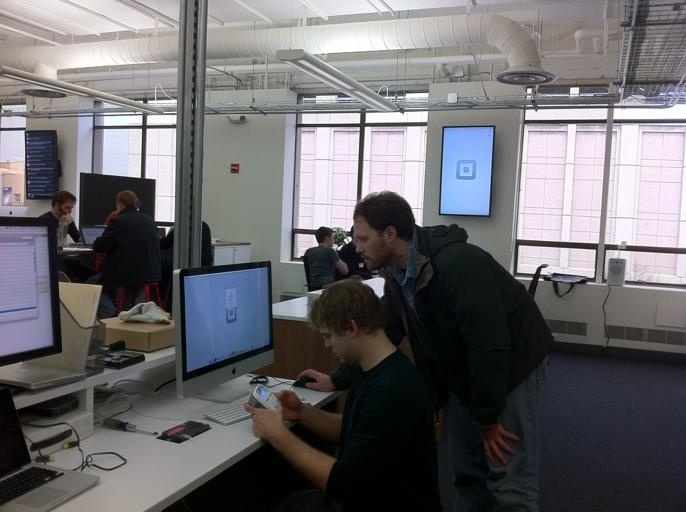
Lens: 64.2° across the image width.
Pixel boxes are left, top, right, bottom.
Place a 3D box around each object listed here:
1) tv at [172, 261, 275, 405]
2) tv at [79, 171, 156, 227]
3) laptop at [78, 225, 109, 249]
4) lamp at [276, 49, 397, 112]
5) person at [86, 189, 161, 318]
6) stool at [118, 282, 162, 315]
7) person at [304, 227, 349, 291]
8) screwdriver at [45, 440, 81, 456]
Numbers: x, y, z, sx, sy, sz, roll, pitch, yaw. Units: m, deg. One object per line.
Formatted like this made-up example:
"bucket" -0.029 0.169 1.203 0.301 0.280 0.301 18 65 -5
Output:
"tv" -0.566 0.360 2.520 0.199 0.536 0.627 -3 0 28
"tv" -3.460 -0.851 8.428 1.098 0.802 0.093 -1 19 -31
"laptop" -2.845 -0.214 6.204 0.297 0.254 0.218 -3 12 -38
"lamp" 0.023 -1.691 5.372 0.428 0.231 2.362 11 12 18
"person" -2.120 0.004 5.269 0.601 1.198 0.683 17 15 42
"stool" -2.111 0.411 5.505 0.375 0.402 0.413 -2 -5 17
"person" -0.157 0.095 6.407 0.455 0.886 0.514 2 10 42
"screwdriver" -1.084 0.736 2.113 0.029 0.042 0.155 38 26 33
